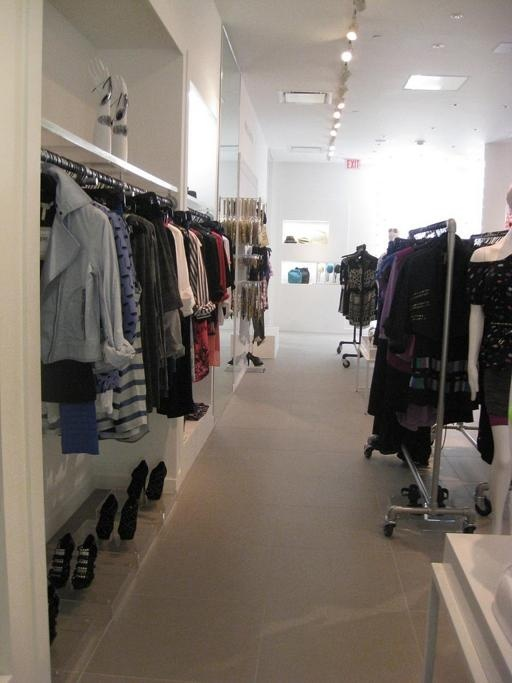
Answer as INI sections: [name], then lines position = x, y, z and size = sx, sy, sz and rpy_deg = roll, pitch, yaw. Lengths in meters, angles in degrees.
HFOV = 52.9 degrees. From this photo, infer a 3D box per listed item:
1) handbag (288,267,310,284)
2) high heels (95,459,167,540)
[handbag]
position = 0.912, -1.404, 10.927
size = 0.294, 0.408, 0.351
rpy_deg = 0, 1, 9
[high heels]
position = -0.601, 0.779, 2.528
size = 0.124, 0.202, 0.436
rpy_deg = -2, 2, 6
